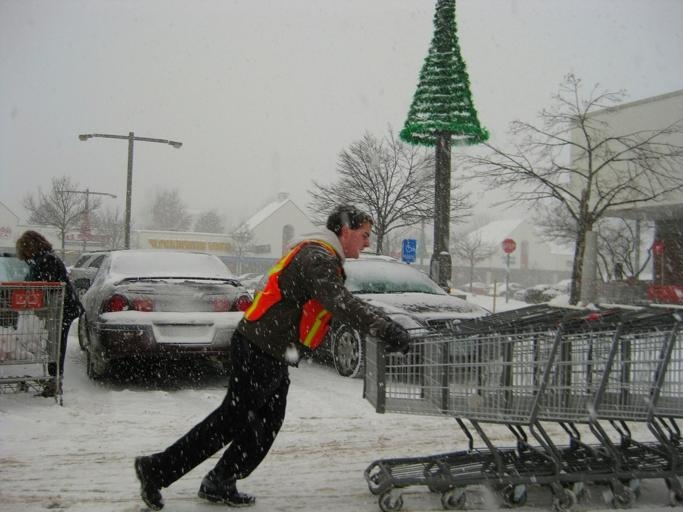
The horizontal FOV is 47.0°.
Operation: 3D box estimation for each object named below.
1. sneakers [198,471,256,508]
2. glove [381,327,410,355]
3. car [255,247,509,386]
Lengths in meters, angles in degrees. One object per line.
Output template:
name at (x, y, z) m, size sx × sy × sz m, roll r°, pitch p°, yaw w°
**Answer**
sneakers at (-0.966, 1.951, 6.692) m, size 0.543 × 0.319 × 0.207 m, roll 16°, pitch -2°, yaw -14°
glove at (0.452, 0.670, 6.406) m, size 0.221 × 0.254 × 0.172 m, roll -5°, pitch 5°, yaw -11°
car at (0.693, 0.796, 11.009) m, size 1.532 × 1.333 × 3.331 m, roll 7°, pitch -8°, yaw -36°
